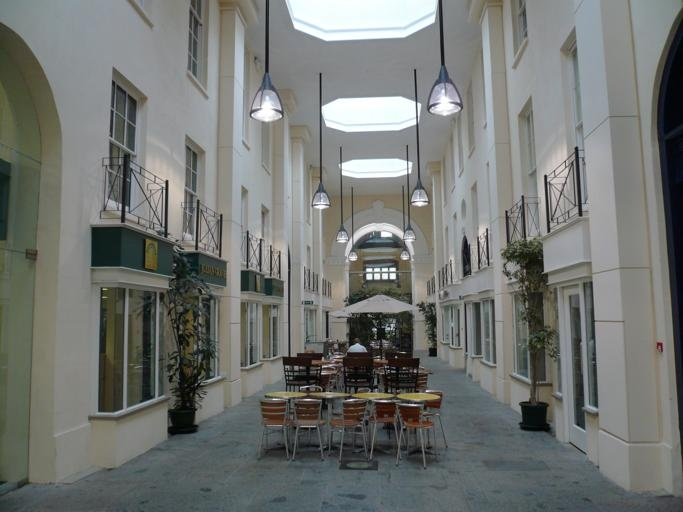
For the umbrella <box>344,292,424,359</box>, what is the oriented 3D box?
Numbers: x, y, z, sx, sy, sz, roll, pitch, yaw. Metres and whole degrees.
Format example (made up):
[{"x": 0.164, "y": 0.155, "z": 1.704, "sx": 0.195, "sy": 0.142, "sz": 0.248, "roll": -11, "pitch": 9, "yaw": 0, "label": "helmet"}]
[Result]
[{"x": 1.048, "y": 1.875, "z": 16.000, "sx": 1.957, "sy": 1.669, "sz": 1.984, "roll": 3, "pitch": 5, "yaw": 43, "label": "umbrella"}]

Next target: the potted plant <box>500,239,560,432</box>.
[{"x": 3.742, "y": 1.530, "z": 10.978, "sx": 0.973, "sy": 3.745, "sz": 2.098, "roll": 0, "pitch": -2, "yaw": 17, "label": "potted plant"}]

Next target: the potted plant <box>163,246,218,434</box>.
[{"x": -3.077, "y": 1.768, "z": 10.938, "sx": 1.135, "sy": 3.690, "sz": 1.261, "roll": -19, "pitch": -28, "yaw": 25, "label": "potted plant"}]
